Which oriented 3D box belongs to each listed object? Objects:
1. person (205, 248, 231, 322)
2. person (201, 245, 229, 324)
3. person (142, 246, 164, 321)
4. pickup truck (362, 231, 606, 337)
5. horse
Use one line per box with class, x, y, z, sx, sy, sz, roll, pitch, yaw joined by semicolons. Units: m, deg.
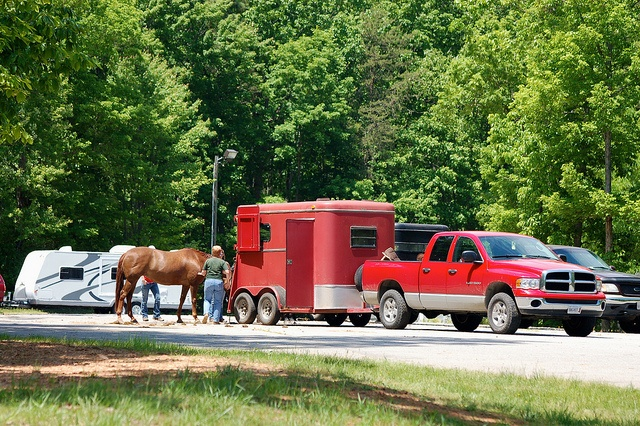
person;-3.611;2.616;36.378;0.980;2.634;0.917;1;1;0
person;-3.688;2.572;36.342;0.913;2.702;1.133;0;-2;-7
person;-6.087;2.602;37.609;0.794;3.067;0.873;5;13;7
pickup truck;4.965;2.312;34.280;3.551;2.552;6.475;5;-9;-38
horse;-5.130;2.593;36.841;4.343;2.707;0.963;4;-8;-26
